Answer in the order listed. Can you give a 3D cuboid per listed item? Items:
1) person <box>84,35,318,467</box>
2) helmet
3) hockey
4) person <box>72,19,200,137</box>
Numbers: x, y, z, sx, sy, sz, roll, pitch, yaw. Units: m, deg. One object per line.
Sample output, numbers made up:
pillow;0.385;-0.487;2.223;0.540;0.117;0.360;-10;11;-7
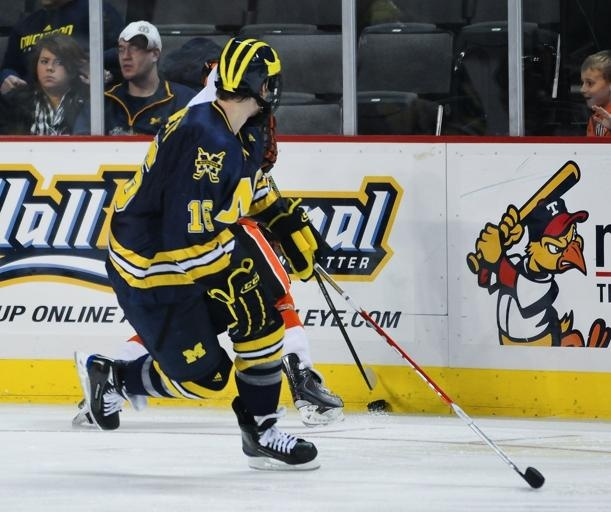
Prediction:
person;-0.454;0.000;5.775;0.959;1.827;0.479;-2;14;-9
helmet;-0.234;-0.763;5.646;0.305;0.334;0.386;9;7;30
hockey;0.636;0.578;6.487;0.150;1.270;0.061;-39;-15;-22
person;-0.844;-0.925;6.816;0.787;0.523;0.405;-3;-6;18
